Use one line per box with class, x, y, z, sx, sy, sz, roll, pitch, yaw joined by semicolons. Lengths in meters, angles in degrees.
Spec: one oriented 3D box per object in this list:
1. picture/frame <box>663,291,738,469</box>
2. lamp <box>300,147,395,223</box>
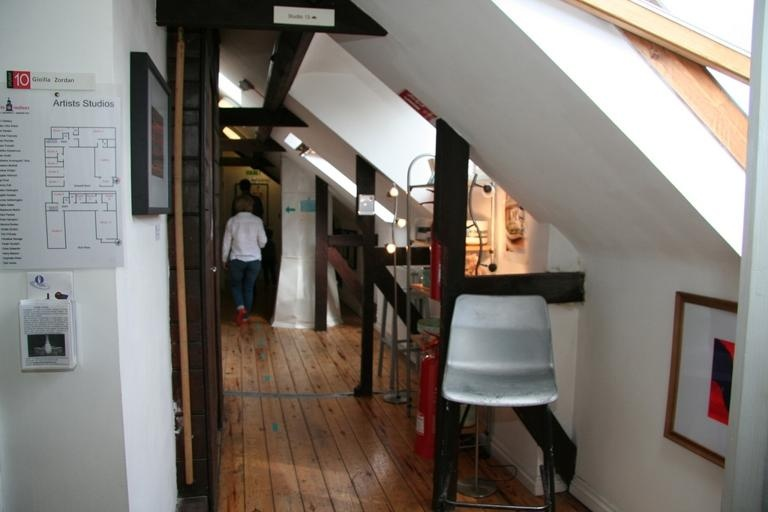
picture/frame;1.468;0.559;2.943;0.118;0.747;0.355;-5;9;-26
lamp;-0.413;-0.724;6.699;1.085;0.751;0.460;7;12;44
